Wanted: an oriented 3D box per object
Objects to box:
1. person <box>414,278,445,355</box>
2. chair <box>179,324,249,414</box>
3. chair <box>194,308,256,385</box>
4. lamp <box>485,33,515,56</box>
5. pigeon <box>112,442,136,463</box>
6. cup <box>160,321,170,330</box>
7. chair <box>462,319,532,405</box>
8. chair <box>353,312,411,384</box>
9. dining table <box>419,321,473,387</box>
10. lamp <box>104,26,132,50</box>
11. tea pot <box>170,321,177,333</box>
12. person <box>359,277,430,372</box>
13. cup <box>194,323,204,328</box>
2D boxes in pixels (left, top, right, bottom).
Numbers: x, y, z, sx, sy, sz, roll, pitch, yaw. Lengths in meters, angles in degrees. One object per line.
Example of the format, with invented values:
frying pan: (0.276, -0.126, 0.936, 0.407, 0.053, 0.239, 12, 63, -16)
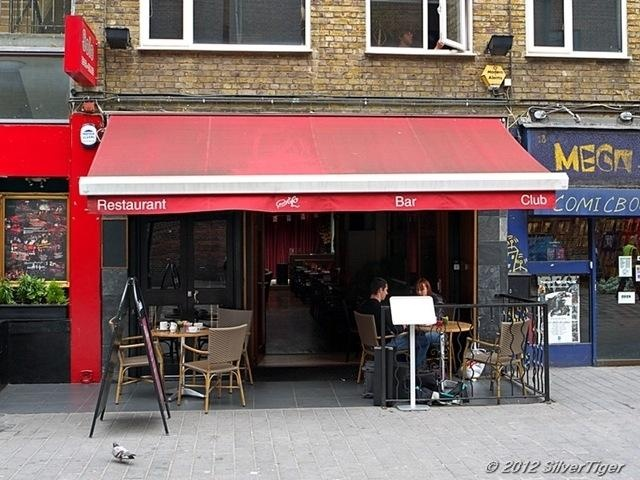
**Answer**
person: (1.813, 1.344, 13.641, 0.526, 1.366, 0.701, 1, 8, 33)
chair: (-1.718, 1.992, 12.679, 0.842, 1.449, 0.919, -1, 6, -35)
chair: (-1.763, 2.048, 14.033, 0.853, 0.948, 1.173, -3, -22, 5)
lamp: (3.278, -3.545, 14.280, 0.497, 0.366, 0.330, 0, 8, 2)
pigeon: (-2.623, 2.814, 10.474, 0.167, 0.131, 0.326, 16, -3, -31)
cup: (-2.575, 1.437, 13.183, 0.127, 0.112, 0.117, 2, -2, 0)
chair: (2.966, 1.876, 13.151, 0.940, 1.433, 0.872, 10, 15, 43)
chair: (1.130, 1.859, 13.573, 0.997, 1.637, 1.079, 0, -4, -12)
dining table: (2.176, 1.976, 13.477, 0.984, 0.862, 1.030, 2, -6, -24)
lamp: (-3.488, -3.521, 13.718, 0.434, 0.359, 0.357, -3, 9, -15)
tea pot: (-2.419, 1.457, 13.161, 0.084, 0.151, 0.142, 1, -7, -8)
person: (1.286, 1.480, 13.280, 1.113, 1.430, 1.411, -3, 9, -20)
cup: (-2.025, 1.434, 13.247, 0.109, 0.092, 0.093, -1, 2, 10)
